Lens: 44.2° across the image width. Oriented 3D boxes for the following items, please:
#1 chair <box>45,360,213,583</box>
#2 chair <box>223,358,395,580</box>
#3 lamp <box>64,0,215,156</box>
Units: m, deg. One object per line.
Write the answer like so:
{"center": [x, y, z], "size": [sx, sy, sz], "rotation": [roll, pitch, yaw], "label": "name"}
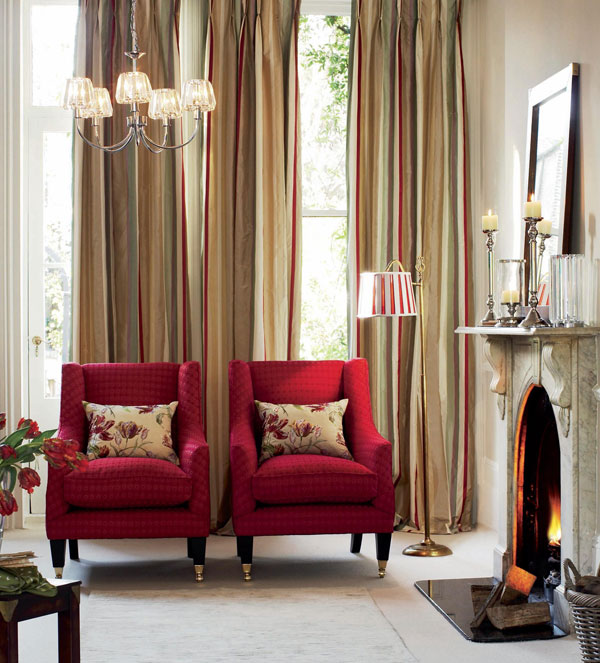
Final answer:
{"center": [-0.797, 0.644, 3.479], "size": [0.701, 1.211, 0.916], "rotation": [-1, -16, -3], "label": "chair"}
{"center": [0.022, 0.617, 3.487], "size": [0.700, 0.949, 0.757], "rotation": [0, -1, -8], "label": "chair"}
{"center": [-0.839, -1.318, 3.945], "size": [0.636, 1.231, 0.688], "rotation": [0, 1, -9], "label": "lamp"}
